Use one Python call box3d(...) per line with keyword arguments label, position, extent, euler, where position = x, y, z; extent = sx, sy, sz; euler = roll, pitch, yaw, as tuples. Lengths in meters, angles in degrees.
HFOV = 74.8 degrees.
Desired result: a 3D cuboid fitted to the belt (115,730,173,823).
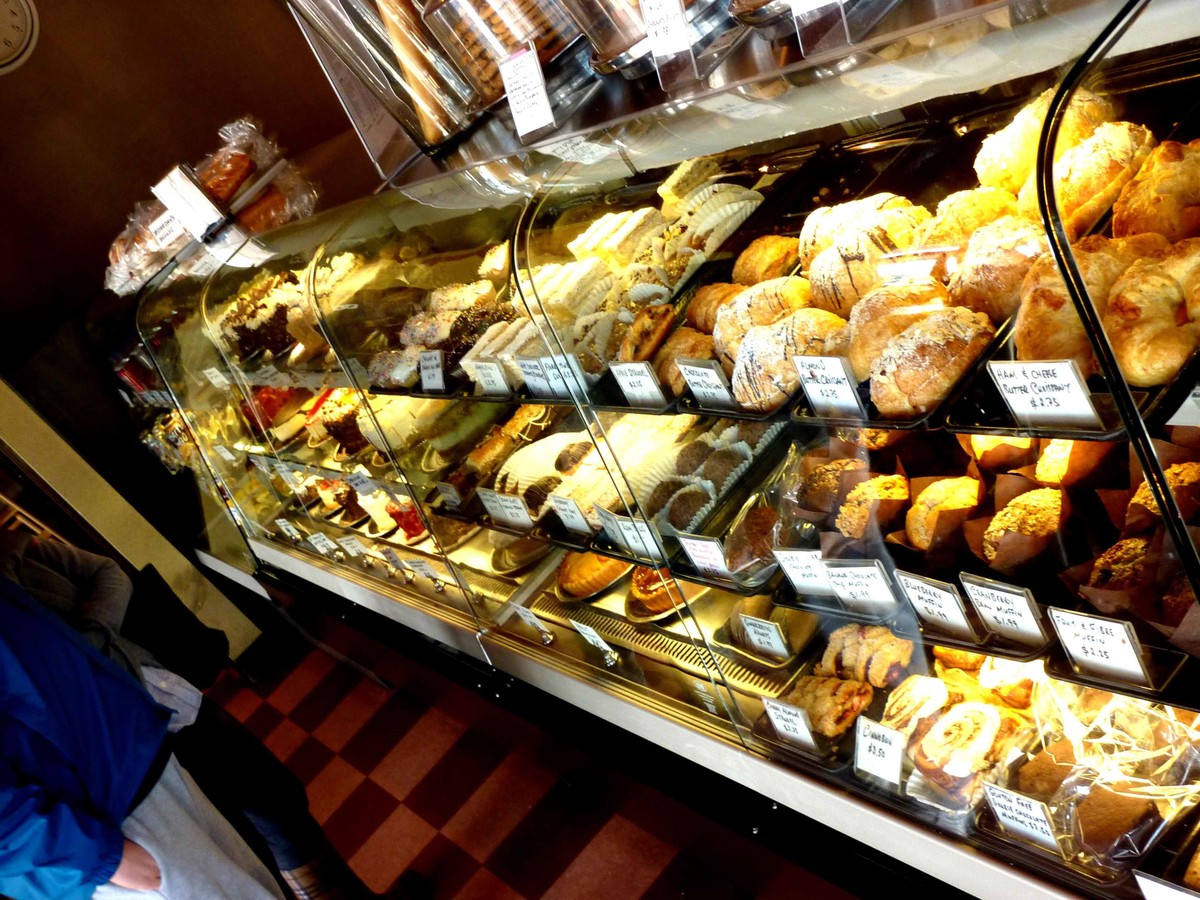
box3d(label="belt", position=(-1.351, 0.974, 2.364), extent=(0.166, 0.043, 0.157), euler=(-49, 21, 27))
